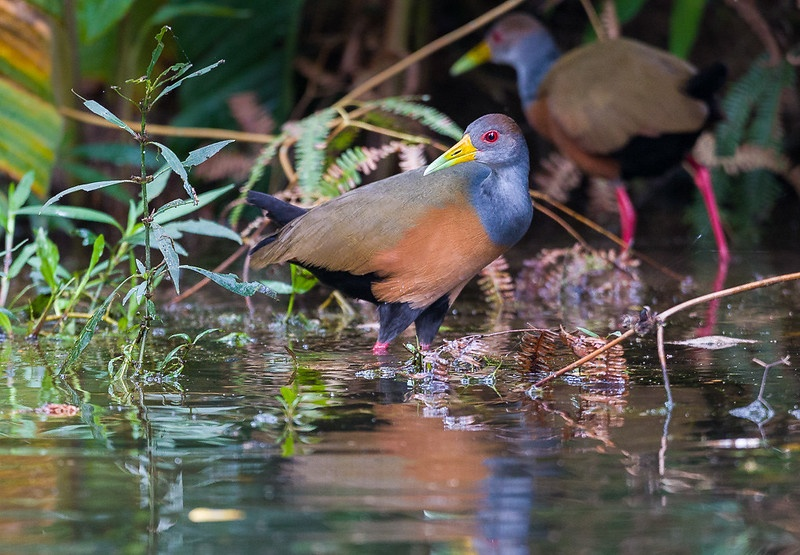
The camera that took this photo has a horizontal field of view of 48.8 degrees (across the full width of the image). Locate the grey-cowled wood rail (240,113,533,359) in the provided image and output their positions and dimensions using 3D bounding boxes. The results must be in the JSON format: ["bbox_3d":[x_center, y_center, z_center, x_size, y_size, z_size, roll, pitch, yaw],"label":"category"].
[{"bbox_3d":[-0.048,-0.149,3.550,1.416,0.897,0.699,5,11,39],"label":"grey-cowled wood rail"}]

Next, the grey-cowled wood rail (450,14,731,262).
[{"bbox_3d":[1.357,-0.649,5.041,0.679,1.111,1.309,28,-32,-32],"label":"grey-cowled wood rail"}]
